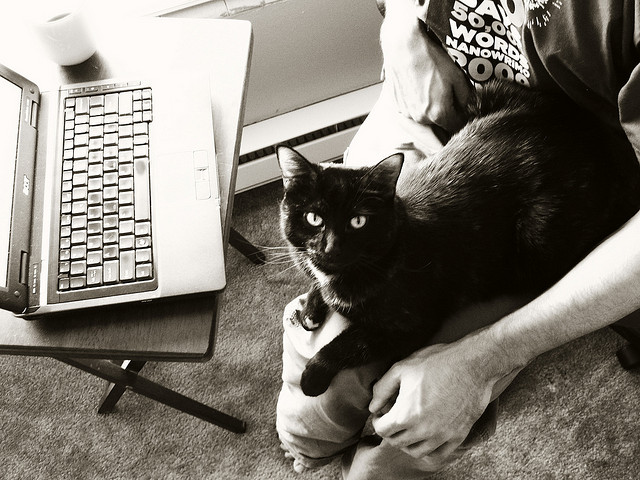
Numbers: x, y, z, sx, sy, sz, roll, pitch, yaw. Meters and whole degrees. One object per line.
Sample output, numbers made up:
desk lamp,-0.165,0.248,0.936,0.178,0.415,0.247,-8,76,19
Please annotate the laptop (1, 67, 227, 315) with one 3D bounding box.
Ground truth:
laptop,-0.326,-0.094,0.965,0.332,0.196,0.368,-5,47,-7

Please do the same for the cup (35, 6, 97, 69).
cup,-0.419,-0.332,1.016,0.074,0.078,0.076,-7,59,12

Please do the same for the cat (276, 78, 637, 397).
cat,0.186,-0.039,1.004,0.535,0.305,0.352,-29,50,17
